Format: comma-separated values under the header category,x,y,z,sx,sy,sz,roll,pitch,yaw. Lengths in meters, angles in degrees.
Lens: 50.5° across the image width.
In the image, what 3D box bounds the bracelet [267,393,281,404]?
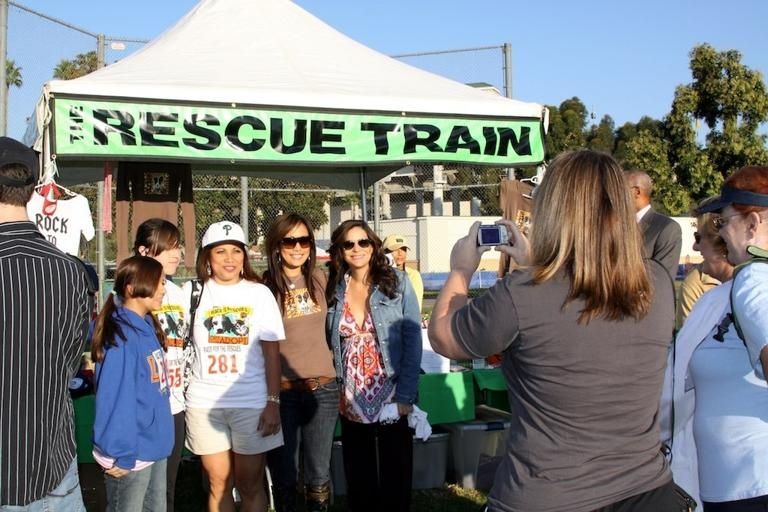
category,x,y,z,sx,sy,sz,roll,pitch,yaw
bracelet,-0.790,1.005,5.804,0.054,0.036,0.070,2,-8,41

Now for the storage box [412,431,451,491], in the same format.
category,x,y,z,sx,sy,sz,roll,pitch,yaw
storage box,0.398,1.828,7.430,0.411,0.394,0.517,-3,-10,7
